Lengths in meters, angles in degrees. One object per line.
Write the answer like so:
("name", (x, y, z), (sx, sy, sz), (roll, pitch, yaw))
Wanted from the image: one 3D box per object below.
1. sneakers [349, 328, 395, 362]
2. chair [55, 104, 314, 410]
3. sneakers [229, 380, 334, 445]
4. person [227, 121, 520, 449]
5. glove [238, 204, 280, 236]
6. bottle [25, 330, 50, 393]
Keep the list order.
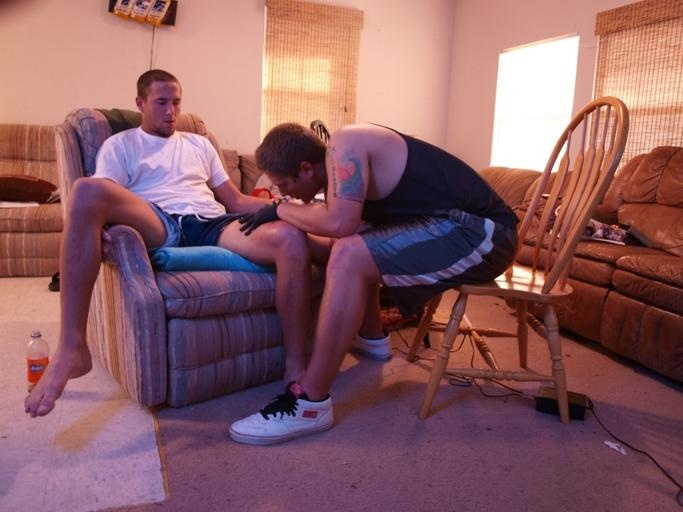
("sneakers", (0.151, 0.434, 2.429), (0.086, 0.106, 0.227), (-2, 6, -38))
("chair", (-0.790, -0.113, 2.391), (1.139, 1.175, 0.866), (14, 15, 43))
("sneakers", (-0.203, 0.571, 1.902), (0.436, 0.224, 0.157), (-2, 7, -20))
("person", (0.109, 0.024, 1.988), (0.906, 1.204, 1.127), (-2, 6, 26))
("glove", (-0.330, -0.138, 2.054), (0.171, 0.053, 0.116), (-27, 30, 27))
("bottle", (-1.240, 0.426, 2.010), (0.084, 0.241, 0.088), (5, 12, -1))
